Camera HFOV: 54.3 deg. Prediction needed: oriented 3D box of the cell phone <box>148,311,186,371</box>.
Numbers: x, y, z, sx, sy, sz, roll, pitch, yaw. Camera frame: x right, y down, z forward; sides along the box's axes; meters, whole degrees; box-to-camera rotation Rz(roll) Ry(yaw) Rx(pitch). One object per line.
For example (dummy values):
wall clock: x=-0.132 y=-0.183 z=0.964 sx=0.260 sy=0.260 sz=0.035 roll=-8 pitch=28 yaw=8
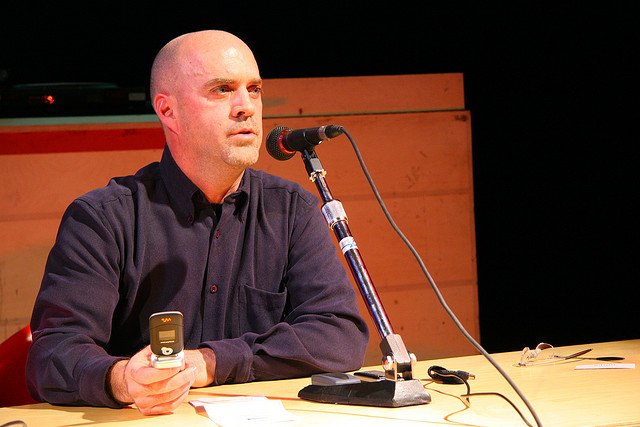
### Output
cell phone: x=-0.501 y=0.426 z=2.044 sx=0.105 sy=0.214 sz=0.112 roll=-3 pitch=2 yaw=-15

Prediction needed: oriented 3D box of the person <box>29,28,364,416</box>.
person: x=-0.504 y=-0.044 z=2.504 sx=1.217 sy=1.460 sz=0.734 roll=-3 pitch=2 yaw=-34

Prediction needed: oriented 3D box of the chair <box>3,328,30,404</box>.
chair: x=-1.341 y=0.675 z=2.755 sx=0.112 sy=0.235 sz=0.124 roll=-3 pitch=2 yaw=-23
